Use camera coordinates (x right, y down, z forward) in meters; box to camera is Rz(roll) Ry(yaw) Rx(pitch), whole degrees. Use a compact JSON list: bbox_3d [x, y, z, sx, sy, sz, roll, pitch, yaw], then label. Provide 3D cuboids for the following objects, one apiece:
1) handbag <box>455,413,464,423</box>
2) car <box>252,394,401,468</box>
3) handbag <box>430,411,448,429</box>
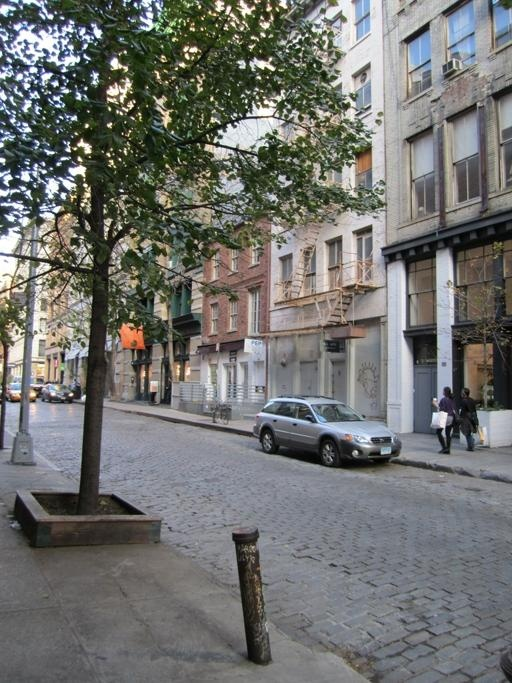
[{"bbox_3d":[4.684,1.780,14.575,0.185,0.135,0.262,-6,-8,10],"label":"handbag"},{"bbox_3d":[1.517,1.912,13.890,1.372,1.125,3.195,6,-8,-32],"label":"car"},{"bbox_3d":[4.096,1.765,14.117,0.240,0.394,0.400,5,-7,-35],"label":"handbag"}]
